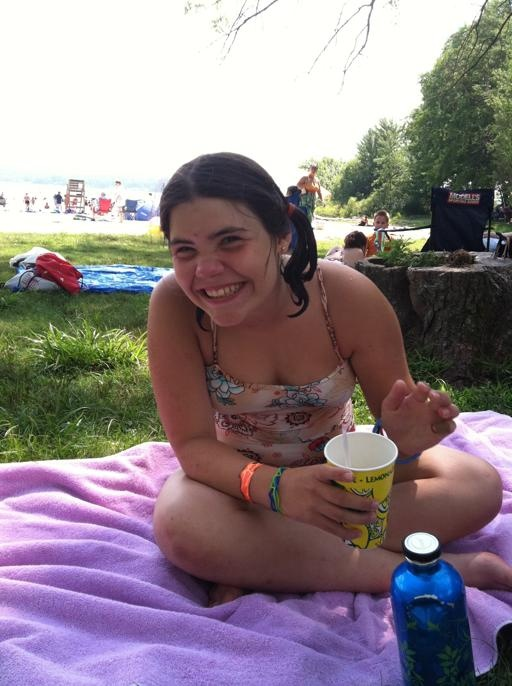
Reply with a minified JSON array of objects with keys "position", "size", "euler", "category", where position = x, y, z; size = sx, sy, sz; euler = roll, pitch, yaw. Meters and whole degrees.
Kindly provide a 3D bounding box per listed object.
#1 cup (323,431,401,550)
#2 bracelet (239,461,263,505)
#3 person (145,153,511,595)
[{"position":[0.232,0.351,1.304],"size":[0.151,0.329,0.257],"euler":[1,14,4],"category":"cup"},{"position":[-0.031,0.383,1.525],"size":[0.083,0.092,0.035],"euler":[9,4,-38],"category":"bracelet"},{"position":[0.081,0.107,1.593],"size":[0.773,1.247,0.798],"euler":[-3,14,-12],"category":"person"}]
